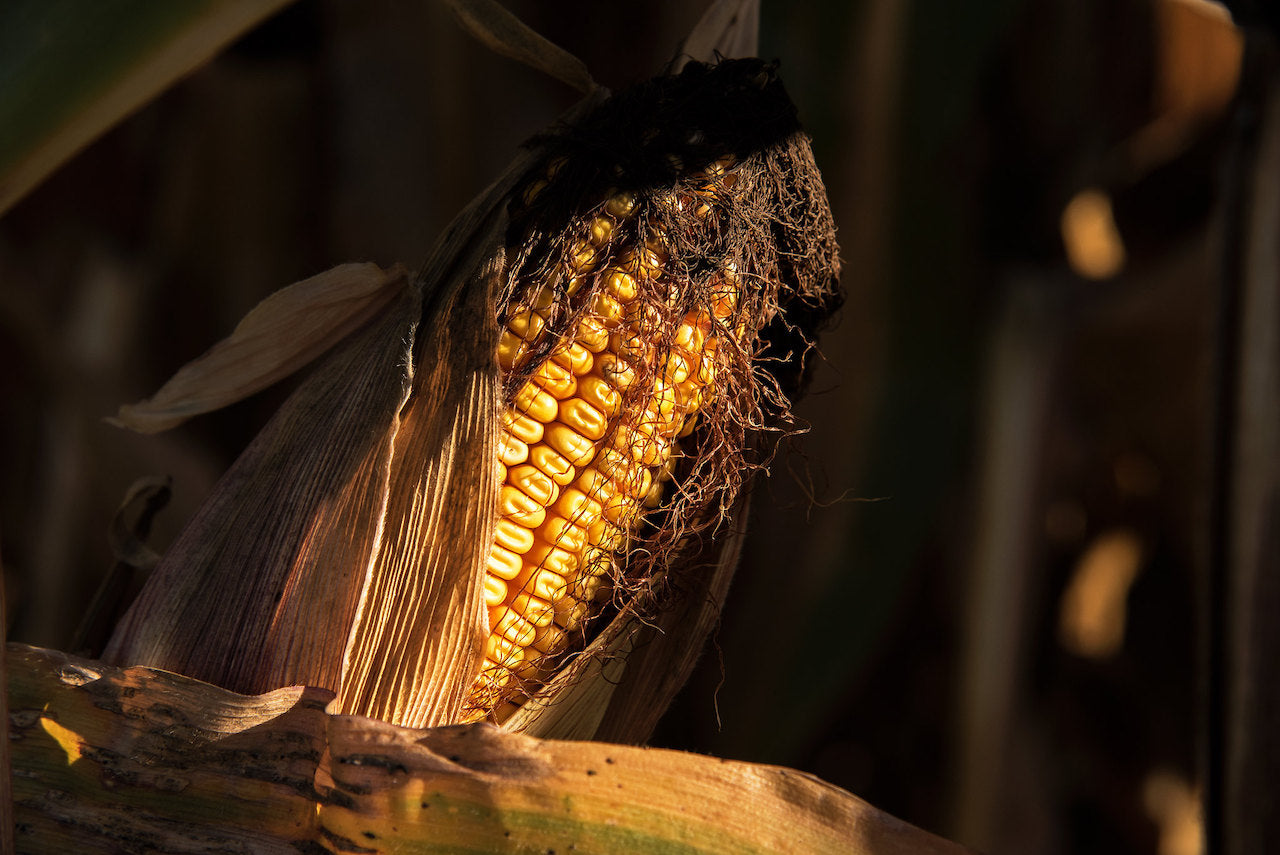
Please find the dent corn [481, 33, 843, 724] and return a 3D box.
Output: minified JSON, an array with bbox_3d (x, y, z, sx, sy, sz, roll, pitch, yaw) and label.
[{"bbox_3d":[-0.008,-0.066,1.620,0.256,0.819,0.251,17,13,-9],"label":"dent corn"}]
